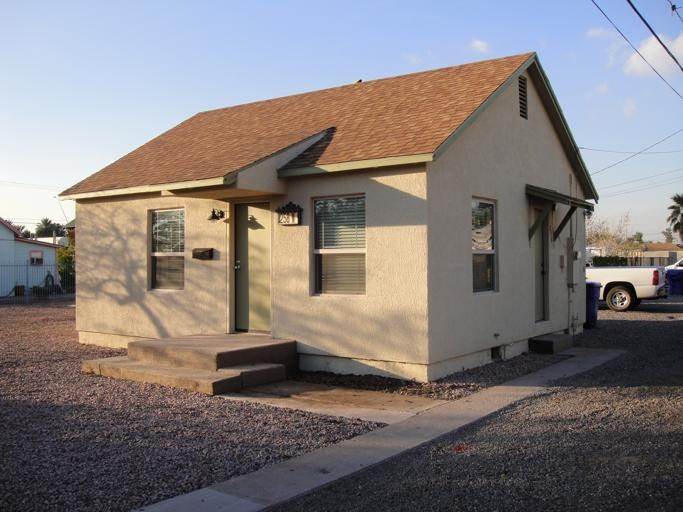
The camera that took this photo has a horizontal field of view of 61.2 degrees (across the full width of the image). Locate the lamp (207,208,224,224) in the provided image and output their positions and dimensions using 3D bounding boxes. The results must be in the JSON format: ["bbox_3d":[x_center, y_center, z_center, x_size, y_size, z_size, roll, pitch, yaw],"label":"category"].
[{"bbox_3d":[-2.597,-0.847,11.917,0.458,0.277,0.191,2,3,40],"label":"lamp"}]

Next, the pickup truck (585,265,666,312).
[{"bbox_3d":[10.375,0.988,20.847,3.685,1.152,1.968,1,0,29],"label":"pickup truck"}]
